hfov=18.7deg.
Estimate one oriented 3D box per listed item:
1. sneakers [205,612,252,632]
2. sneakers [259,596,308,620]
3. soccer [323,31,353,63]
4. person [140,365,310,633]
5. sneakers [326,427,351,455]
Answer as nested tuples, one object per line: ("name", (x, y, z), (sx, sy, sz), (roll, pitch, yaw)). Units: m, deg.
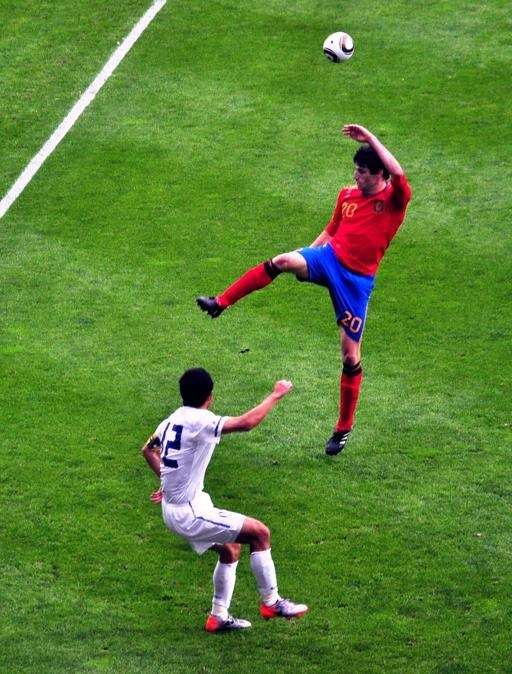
("sneakers", (-0.206, 1.970, 10.774), (0.307, 0.154, 0.136), (-2, 16, -14))
("sneakers", (0.178, 1.865, 10.733), (0.347, 0.220, 0.143), (-3, 11, 4))
("soccer", (0.689, -2.457, 13.346), (0.234, 0.281, 0.277), (8, 20, -1))
("person", (-0.274, 1.106, 10.650), (1.157, 1.788, 0.520), (9, 18, 3))
("sneakers", (0.625, 0.842, 12.189), (0.098, 0.131, 0.312), (20, 64, 21))
